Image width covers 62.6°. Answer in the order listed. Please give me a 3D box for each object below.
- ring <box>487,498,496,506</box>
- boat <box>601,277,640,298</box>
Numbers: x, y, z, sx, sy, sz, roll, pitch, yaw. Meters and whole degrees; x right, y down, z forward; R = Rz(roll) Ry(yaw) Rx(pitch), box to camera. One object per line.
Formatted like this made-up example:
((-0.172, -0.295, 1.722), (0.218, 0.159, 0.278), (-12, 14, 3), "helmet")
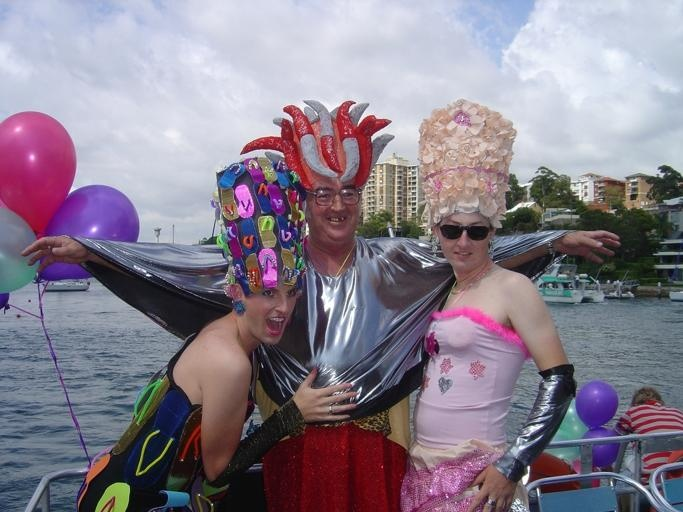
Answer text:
((0.774, 1.268, 2.898), (0.034, 0.009, 0.034), (-4, 2, 0), "ring")
((27.347, 3.226, 55.038), (1.864, 1.863, 6.458), (-8, -9, 44), "boat")
